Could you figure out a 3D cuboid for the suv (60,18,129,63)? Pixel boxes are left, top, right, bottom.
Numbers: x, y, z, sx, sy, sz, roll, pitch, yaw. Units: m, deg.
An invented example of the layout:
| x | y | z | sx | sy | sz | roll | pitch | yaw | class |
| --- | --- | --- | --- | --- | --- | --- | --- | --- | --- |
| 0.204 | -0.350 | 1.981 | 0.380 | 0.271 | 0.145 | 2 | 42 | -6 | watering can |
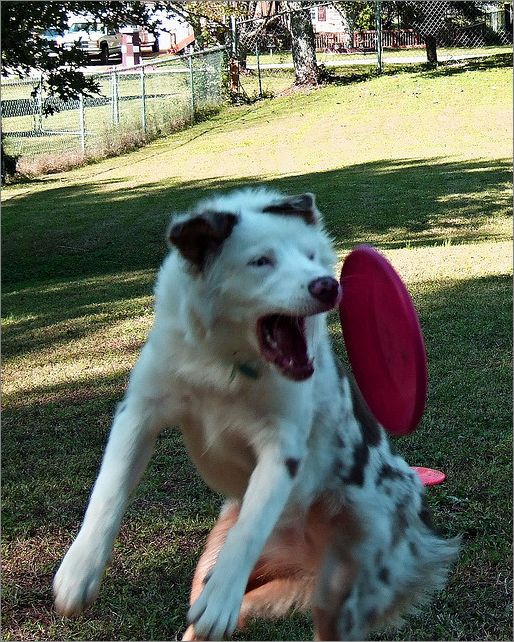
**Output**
| x | y | z | sx | sy | sz | roll | pitch | yaw | class |
| --- | --- | --- | --- | --- | --- | --- | --- | --- | --- |
| -9.266 | -15.730 | 37.824 | 2.036 | 1.532 | 4.018 | 38 | 36 | 17 | suv |
